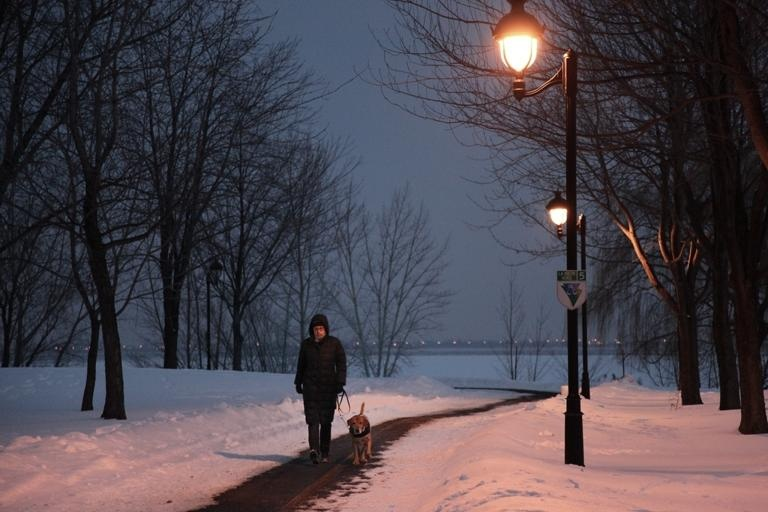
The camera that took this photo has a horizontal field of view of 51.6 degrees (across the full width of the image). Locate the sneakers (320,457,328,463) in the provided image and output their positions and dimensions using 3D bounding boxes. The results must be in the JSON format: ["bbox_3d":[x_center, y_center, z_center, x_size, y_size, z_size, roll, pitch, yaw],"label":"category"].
[{"bbox_3d":[-1.545,5.205,20.584,0.194,0.116,0.242,-1,2,-4],"label":"sneakers"}]

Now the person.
[{"bbox_3d":[-1.686,3.385,20.727,1.170,3.730,1.057,-3,4,-27],"label":"person"}]
